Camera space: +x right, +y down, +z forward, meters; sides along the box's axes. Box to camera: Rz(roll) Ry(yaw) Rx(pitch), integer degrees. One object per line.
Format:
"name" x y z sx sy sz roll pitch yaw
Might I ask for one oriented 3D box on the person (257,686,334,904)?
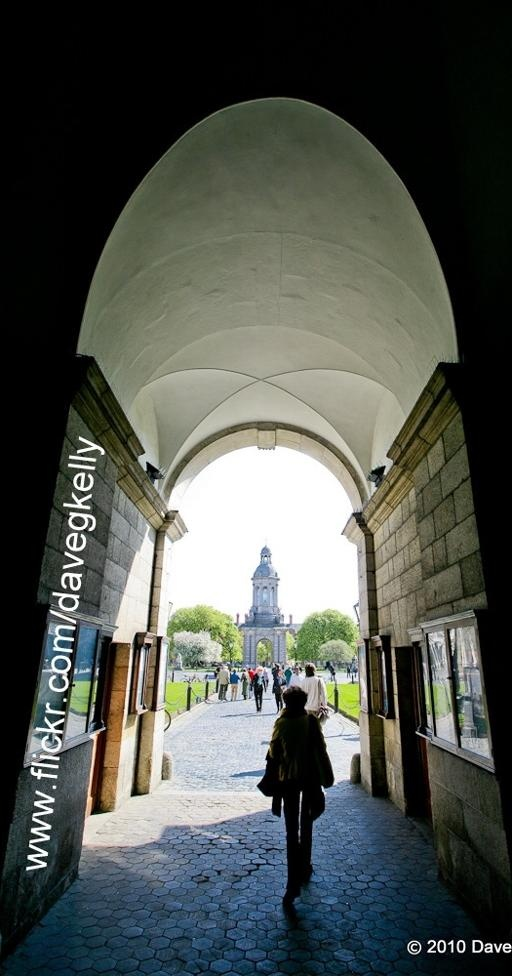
"person" 0.326 2.434 3.850 0.554 1.549 0.818 -3 -16 7
